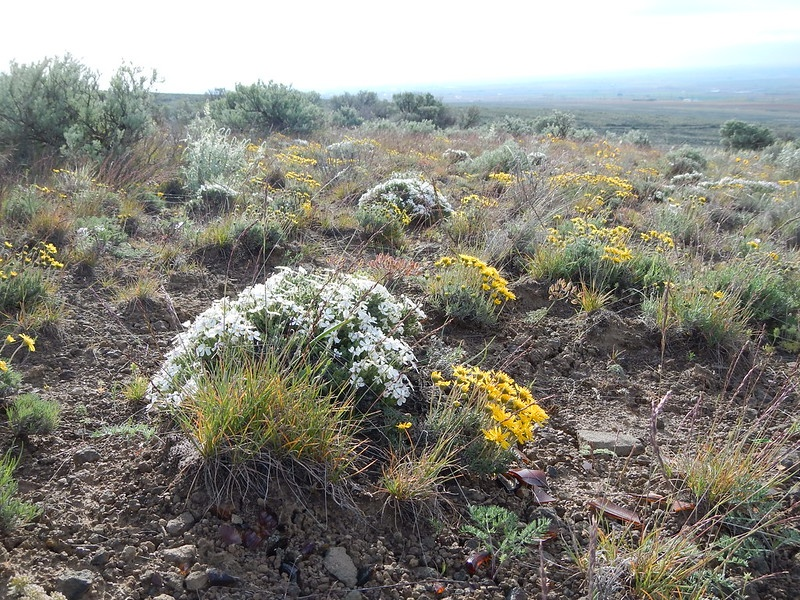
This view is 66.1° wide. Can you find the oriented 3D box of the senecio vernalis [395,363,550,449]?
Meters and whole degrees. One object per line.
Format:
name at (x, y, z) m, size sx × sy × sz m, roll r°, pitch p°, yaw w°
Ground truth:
senecio vernalis at (0.586, 0.786, 4.376) m, size 0.685 × 0.694 × 0.872 m, roll -10°, pitch 22°, yaw -21°
